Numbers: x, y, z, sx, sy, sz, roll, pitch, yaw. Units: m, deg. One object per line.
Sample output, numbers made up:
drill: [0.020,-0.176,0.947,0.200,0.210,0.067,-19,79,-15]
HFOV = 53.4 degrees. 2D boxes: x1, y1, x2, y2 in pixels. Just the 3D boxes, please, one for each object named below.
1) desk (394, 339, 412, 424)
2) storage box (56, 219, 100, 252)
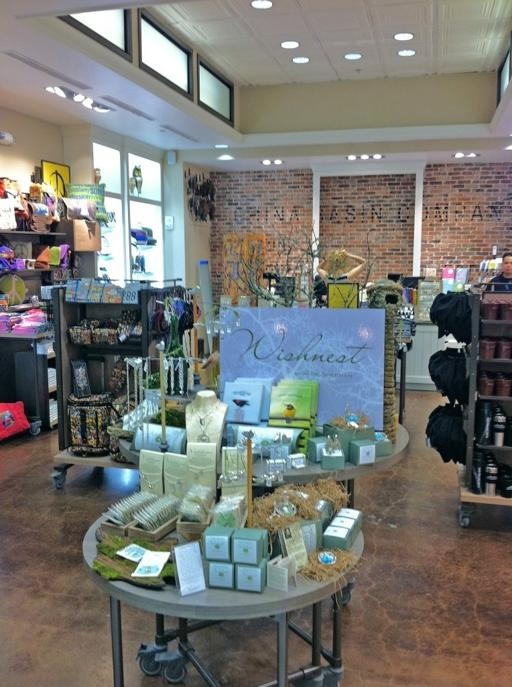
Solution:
desk: [1.815,0.519,6.259,0.263,1.129,0.535,1,10,12]
storage box: [-2.301,-1.497,6.642,0.361,0.431,0.674,1,8,10]
